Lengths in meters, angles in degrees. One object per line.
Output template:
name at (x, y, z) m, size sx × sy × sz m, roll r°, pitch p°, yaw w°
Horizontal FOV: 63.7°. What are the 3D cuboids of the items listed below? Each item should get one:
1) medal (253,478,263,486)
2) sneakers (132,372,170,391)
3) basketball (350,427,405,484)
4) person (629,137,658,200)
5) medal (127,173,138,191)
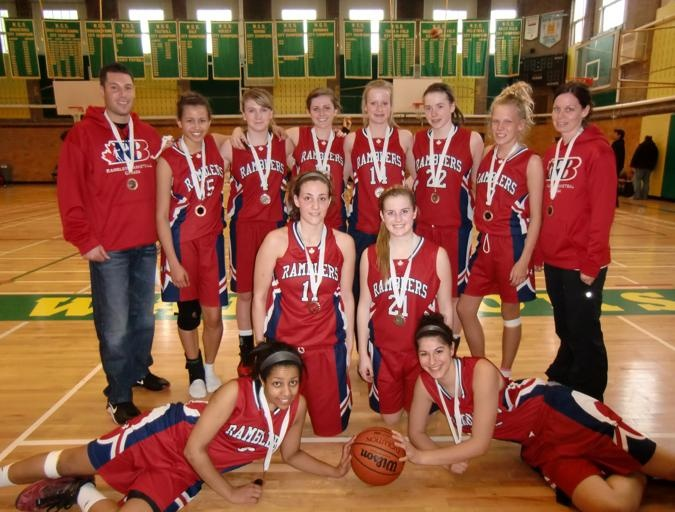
medal at (-0.532, 1.549, 3.731) m, size 0.057 × 0.056 × 0.014 m, roll 9°, pitch 8°, yaw -2°
sneakers at (-1.717, 1.157, 5.007) m, size 0.376 × 0.156 × 0.141 m, roll 1°, pitch 11°, yaw 11°
basketball at (0.271, 1.413, 3.938) m, size 0.381 × 0.418 × 0.366 m, roll 10°, pitch -16°, yaw -34°
person at (8.355, -2.377, 14.911) m, size 0.628 × 1.894 × 1.362 m, roll 7°, pitch 20°, yaw 29°
medal at (-1.647, -0.599, 4.398) m, size 0.138 × 0.141 × 0.031 m, roll 0°, pitch 3°, yaw -33°
